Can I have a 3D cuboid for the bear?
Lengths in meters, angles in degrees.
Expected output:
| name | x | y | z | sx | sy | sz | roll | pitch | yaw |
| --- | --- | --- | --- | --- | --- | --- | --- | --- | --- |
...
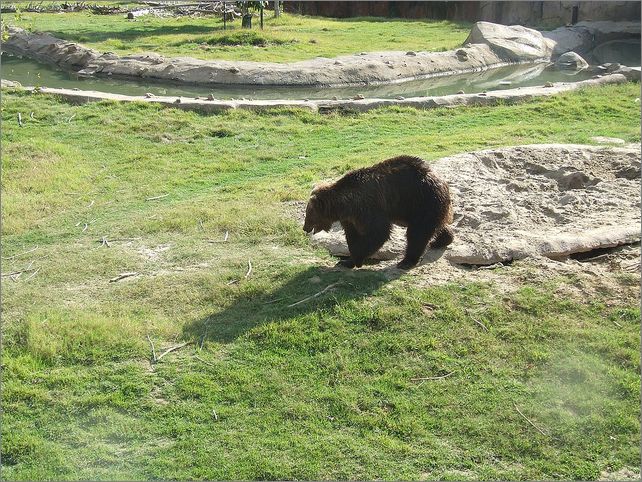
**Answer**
| name | x | y | z | sx | sy | sz | roll | pitch | yaw |
| --- | --- | --- | --- | --- | --- | --- | --- | --- | --- |
| bear | 0.959 | -0.428 | 13.206 | 2.180 | 1.654 | 1.113 | -5 | 21 | -7 |
